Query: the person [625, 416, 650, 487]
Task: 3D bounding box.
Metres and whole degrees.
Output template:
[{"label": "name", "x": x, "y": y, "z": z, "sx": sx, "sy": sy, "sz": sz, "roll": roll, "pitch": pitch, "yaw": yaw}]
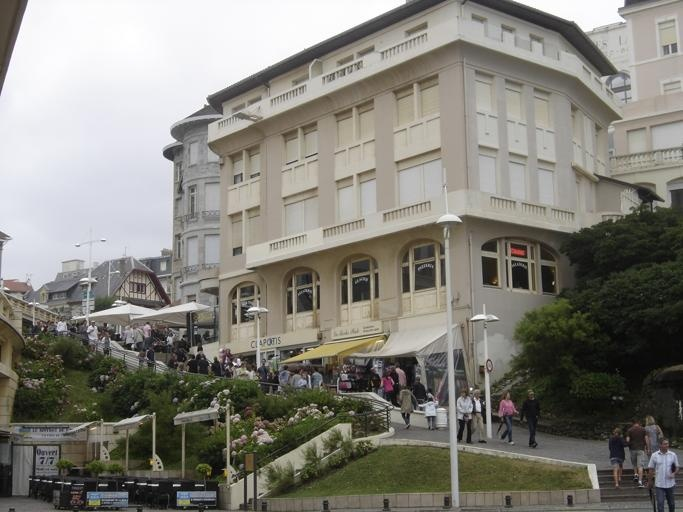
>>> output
[{"label": "person", "x": 10.832, "y": 7.010, "z": 45.839, "sx": 0.630, "sy": 2.365, "sz": 0.774, "roll": -2, "pitch": -2, "yaw": 34}]
